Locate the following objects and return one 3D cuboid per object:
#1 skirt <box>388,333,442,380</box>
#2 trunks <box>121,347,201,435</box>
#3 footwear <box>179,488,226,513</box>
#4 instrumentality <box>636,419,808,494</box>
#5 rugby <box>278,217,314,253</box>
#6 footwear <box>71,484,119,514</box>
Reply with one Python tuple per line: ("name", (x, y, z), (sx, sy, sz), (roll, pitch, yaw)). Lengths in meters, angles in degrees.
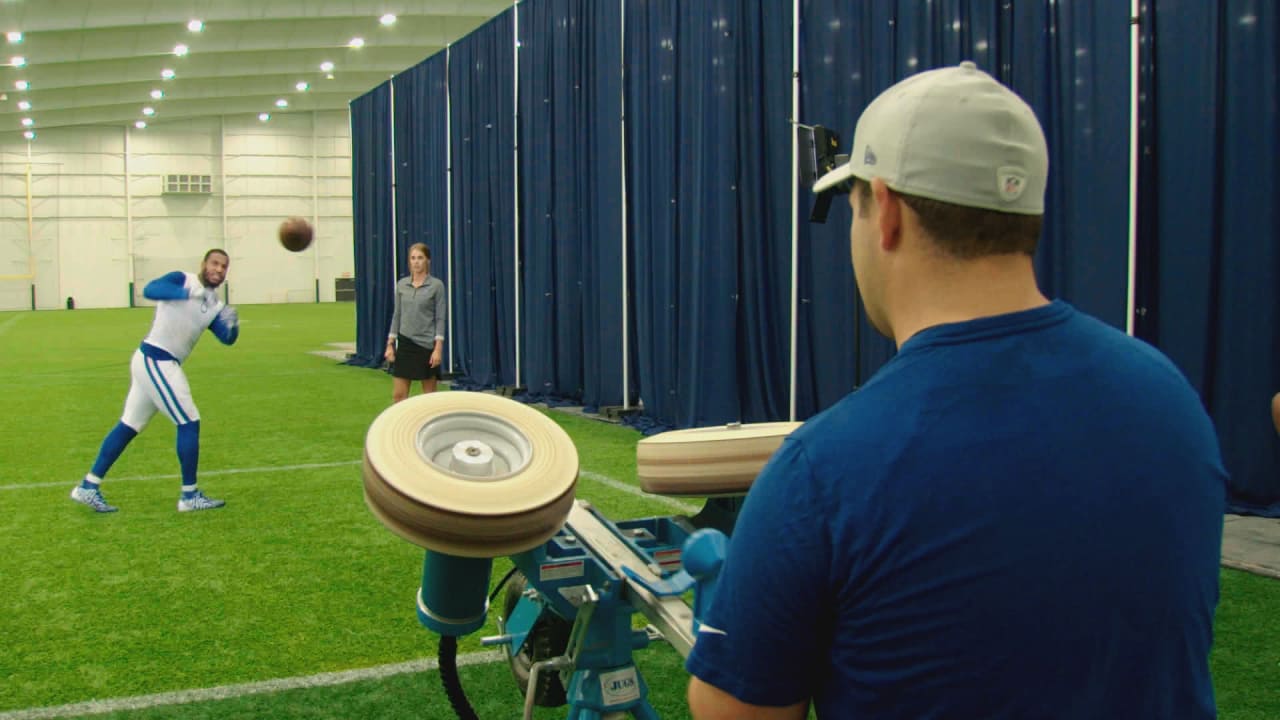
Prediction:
("skirt", (-2.339, 0.011, 10.750), (0.689, 0.631, 0.412), (3, -1, -11))
("trunks", (-4.292, 0.301, 9.070), (0.864, 0.771, 0.375), (5, 12, 16))
("footwear", (-3.656, 1.162, 8.498), (0.439, 0.203, 0.156), (-2, 5, -21))
("instrumentality", (0.424, 0.477, 5.832), (0.625, 0.221, 0.640), (-7, -3, 27))
("rugby", (-4.331, -1.609, 12.804), (0.334, 0.413, 0.934), (0, 5, -14))
("footwear", (-4.556, 1.156, 8.453), (0.278, 0.118, 0.094), (23, 31, -3))
